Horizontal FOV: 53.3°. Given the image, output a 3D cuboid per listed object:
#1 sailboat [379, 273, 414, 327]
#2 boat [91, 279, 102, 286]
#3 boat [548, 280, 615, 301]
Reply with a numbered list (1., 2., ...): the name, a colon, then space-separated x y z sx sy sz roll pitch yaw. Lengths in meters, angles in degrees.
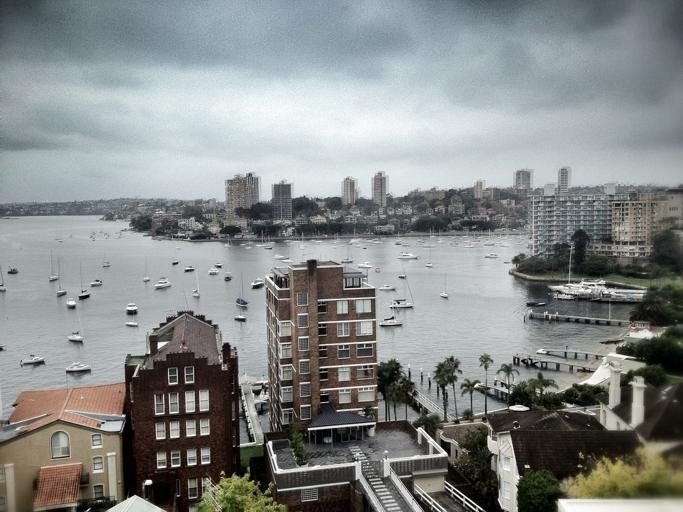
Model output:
1. sailboat: 10.028 8.211 126.271 9.364 12.044 3.023 -5 17 -12
2. boat: -53.916 5.932 150.577 1.193 1.289 3.652 -1 1 2
3. boat: 44.703 6.431 128.011 9.526 2.268 10.500 1 6 16
